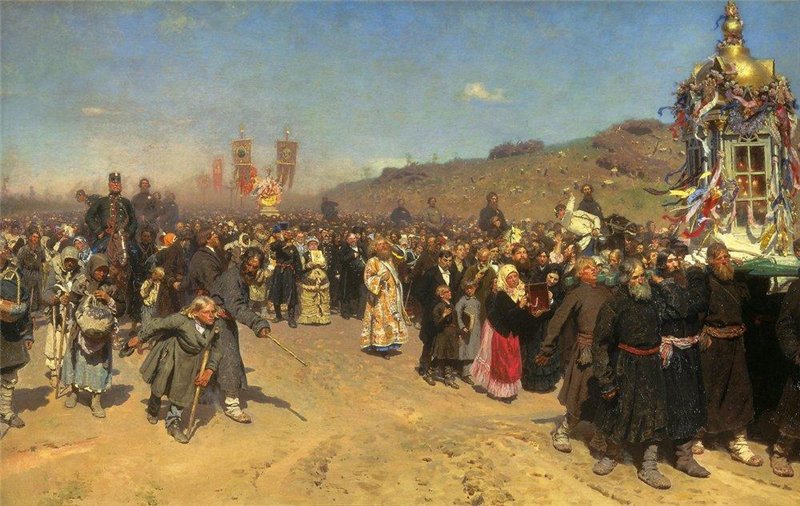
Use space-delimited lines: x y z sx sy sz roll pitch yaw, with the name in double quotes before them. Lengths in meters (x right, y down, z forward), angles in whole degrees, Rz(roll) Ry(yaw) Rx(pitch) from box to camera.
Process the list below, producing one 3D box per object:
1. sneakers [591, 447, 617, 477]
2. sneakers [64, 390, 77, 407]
"sneakers" 3.175 3.244 10.167 0.307 0.175 0.515 -5 9 39
"sneakers" -5.820 2.601 11.630 0.212 0.081 0.300 2 40 3
